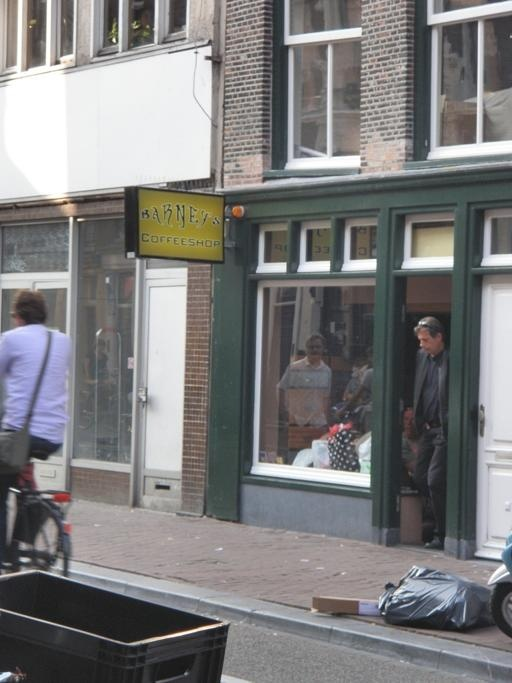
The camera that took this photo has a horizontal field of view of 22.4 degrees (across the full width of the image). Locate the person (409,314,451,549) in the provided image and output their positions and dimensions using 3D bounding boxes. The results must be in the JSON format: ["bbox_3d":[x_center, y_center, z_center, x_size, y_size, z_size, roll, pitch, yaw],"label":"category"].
[{"bbox_3d":[1.519,0.769,10.950,0.464,1.485,0.359,2,-1,39],"label":"person"}]

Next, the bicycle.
[{"bbox_3d":[-1.363,1.173,8.160,0.336,0.529,0.718,4,-4,-31],"label":"bicycle"}]

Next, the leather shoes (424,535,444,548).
[{"bbox_3d":[1.519,1.690,10.962,0.172,0.162,0.075,2,-4,14],"label":"leather shoes"}]

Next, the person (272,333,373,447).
[{"bbox_3d":[0.627,0.485,11.942,0.216,0.892,1.200,3,-1,-34],"label":"person"}]
